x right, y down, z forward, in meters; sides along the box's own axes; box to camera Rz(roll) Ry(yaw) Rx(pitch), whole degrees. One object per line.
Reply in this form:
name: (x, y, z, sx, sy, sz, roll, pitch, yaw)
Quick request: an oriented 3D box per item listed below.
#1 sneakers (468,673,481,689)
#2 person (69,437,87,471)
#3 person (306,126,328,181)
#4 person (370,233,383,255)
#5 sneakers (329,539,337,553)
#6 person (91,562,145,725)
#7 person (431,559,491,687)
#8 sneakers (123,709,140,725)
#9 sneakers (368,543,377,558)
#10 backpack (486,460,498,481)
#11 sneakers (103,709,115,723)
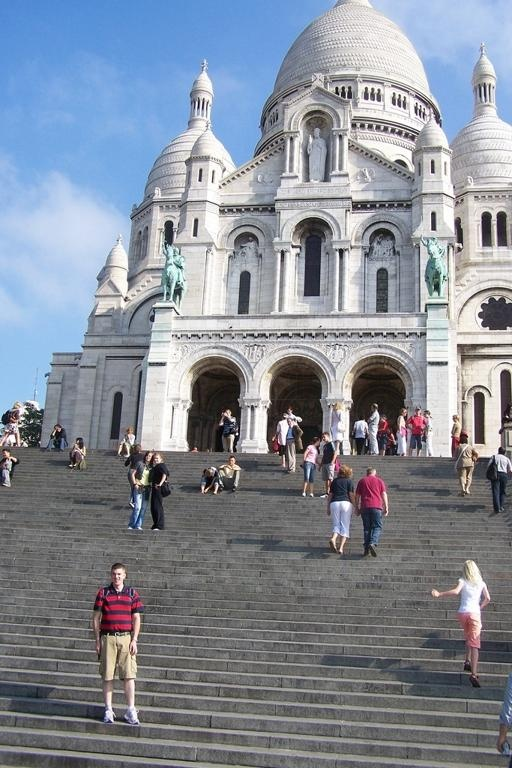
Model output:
sneakers: (2.460, 3.344, 9.040, 0.070, 0.087, 0.223, -3, -50, 15)
person: (-5.006, 1.942, 22.531, 0.434, 0.952, 1.211, 6, -11, -14)
person: (2.714, -10.524, 36.792, 0.940, 3.102, 0.905, -1, -12, 24)
person: (5.313, -6.141, 35.319, 0.591, 1.152, 0.239, 2, -11, 7)
sneakers: (1.301, 2.722, 13.518, 0.129, 0.312, 0.135, -3, 16, 2)
person: (-1.381, 2.603, 8.094, 0.537, 1.572, 0.849, 5, -11, -7)
person: (2.449, 2.754, 9.330, 0.467, 1.381, 0.937, 1, -11, 16)
sneakers: (-1.266, 3.277, 7.918, 0.098, 0.164, 0.260, 10, -19, -34)
sneakers: (1.943, 2.787, 13.405, 0.113, 0.255, 0.109, -4, 33, 22)
backpack: (4.751, 1.721, 16.156, 0.204, 0.413, 0.420, 1, -11, 13)
sneakers: (-1.435, 3.242, 7.884, 0.095, 0.106, 0.254, 3, -2, -4)
